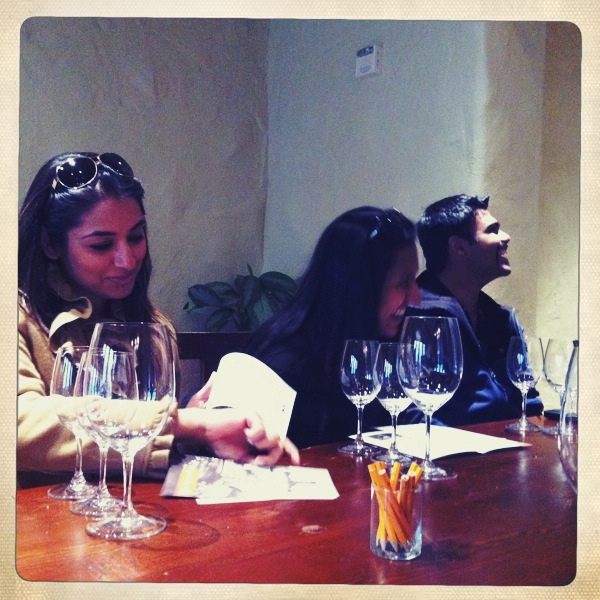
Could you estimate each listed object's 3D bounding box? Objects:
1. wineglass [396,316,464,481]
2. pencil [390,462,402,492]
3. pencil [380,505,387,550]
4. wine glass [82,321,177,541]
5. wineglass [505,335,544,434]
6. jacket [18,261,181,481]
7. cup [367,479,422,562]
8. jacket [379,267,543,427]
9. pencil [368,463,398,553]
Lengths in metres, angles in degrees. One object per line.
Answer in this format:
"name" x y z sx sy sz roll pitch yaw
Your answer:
"wineglass" 0.159 0.107 0.800 0.070 0.228 0.075 2 0 -4
"pencil" 0.091 0.169 0.598 0.006 0.027 0.005 21 -39 -3
"pencil" 0.077 0.211 0.581 0.004 0.039 0.004 -1 0 12
"wine glass" -0.178 0.127 0.657 0.090 0.212 0.130 -1 3 -21
"wineglass" 0.386 0.135 1.091 0.056 0.180 0.064 -1 19 25
"jacket" -0.316 0.027 0.956 0.215 0.450 0.241 1 -5 -2
"cup" 0.084 0.198 0.584 0.054 0.076 0.060 0 -3 3
"jacket" 0.339 0.113 1.317 0.238 0.359 0.279 2 -1 35
"pencil" 0.074 0.191 0.601 0.010 0.097 0.009 -25 -11 42
